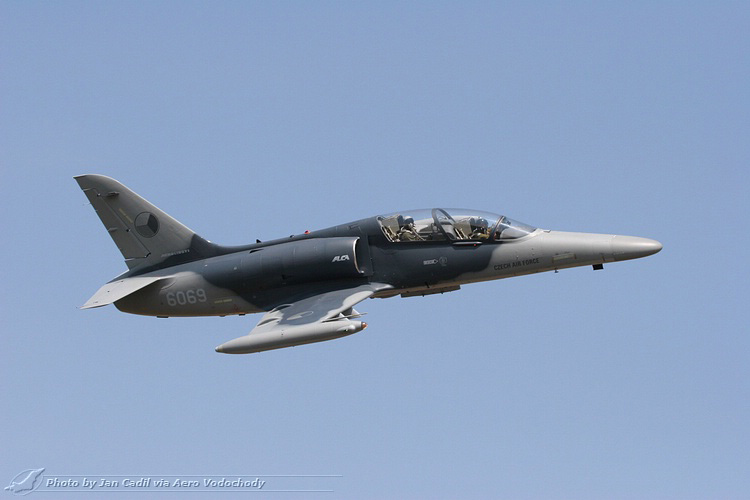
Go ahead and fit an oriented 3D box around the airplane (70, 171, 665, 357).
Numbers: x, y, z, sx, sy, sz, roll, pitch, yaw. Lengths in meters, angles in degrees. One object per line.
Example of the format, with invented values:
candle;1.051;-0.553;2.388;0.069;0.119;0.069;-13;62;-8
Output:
airplane;-0.988;0.404;29.537;12.204;6.260;2.292;-4;-74;9

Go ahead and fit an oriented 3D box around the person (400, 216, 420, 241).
person;0.738;-0.544;29.189;0.766;0.529;0.693;-3;-9;0
